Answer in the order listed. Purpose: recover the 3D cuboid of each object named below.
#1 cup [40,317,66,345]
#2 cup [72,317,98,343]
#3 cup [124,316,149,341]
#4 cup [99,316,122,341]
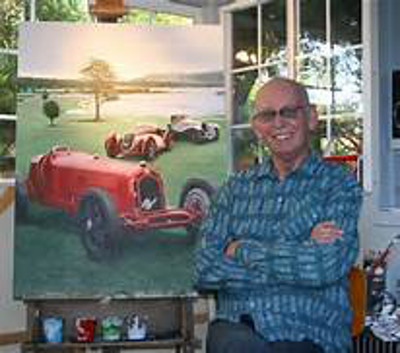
[{"bbox_3d":[-0.814,0.862,2.723,0.119,0.116,0.122,0,-9,0],"label":"cup"},{"bbox_3d":[-0.654,0.877,2.791,0.149,0.127,0.155,-2,-11,0],"label":"cup"},{"bbox_3d":[-0.356,0.858,2.768,0.117,0.107,0.126,-1,-10,0],"label":"cup"},{"bbox_3d":[-0.494,0.863,2.781,0.118,0.106,0.116,-2,-7,0],"label":"cup"}]
